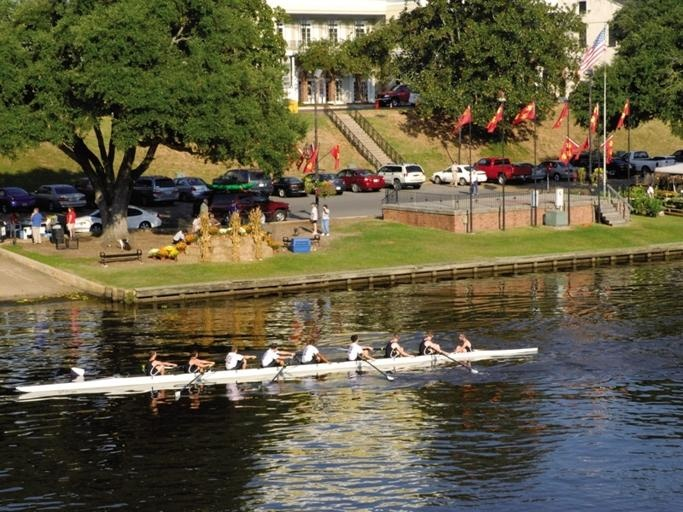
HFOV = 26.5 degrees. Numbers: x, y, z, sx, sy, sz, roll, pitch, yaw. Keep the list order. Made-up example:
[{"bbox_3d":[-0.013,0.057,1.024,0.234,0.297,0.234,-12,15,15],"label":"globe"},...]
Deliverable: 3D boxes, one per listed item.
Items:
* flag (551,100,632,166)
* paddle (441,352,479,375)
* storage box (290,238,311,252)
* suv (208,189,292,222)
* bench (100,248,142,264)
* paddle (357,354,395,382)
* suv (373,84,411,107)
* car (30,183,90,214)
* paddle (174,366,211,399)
[{"bbox_3d":[19.304,-9.483,111.896,4.668,7.112,7.190,-8,12,-27],"label":"flag"},{"bbox_3d":[5.183,4.813,64.436,1.892,0.290,0.204,29,0,42],"label":"paddle"},{"bbox_3d":[-2.324,-0.574,80.683,0.933,0.592,0.894,-1,8,-8],"label":"storage box"},{"bbox_3d":[-5.648,-3.101,87.152,4.135,1.449,2.078,-6,10,-26],"label":"suv"},{"bbox_3d":[-12.029,0.032,78.365,2.277,0.775,2.756,-3,-1,-9],"label":"bench"},{"bbox_3d":[1.444,4.994,63.996,1.795,0.189,0.214,37,-28,-24],"label":"paddle"},{"bbox_3d":[4.221,-13.870,125.896,3.543,1.288,1.535,-4,6,-31],"label":"suv"},{"bbox_3d":[-18.311,-3.691,92.564,1.578,1.072,3.376,-9,15,-40],"label":"car"},{"bbox_3d":[-6.569,5.497,62.604,2.054,0.671,0.587,-10,14,-27],"label":"paddle"}]
